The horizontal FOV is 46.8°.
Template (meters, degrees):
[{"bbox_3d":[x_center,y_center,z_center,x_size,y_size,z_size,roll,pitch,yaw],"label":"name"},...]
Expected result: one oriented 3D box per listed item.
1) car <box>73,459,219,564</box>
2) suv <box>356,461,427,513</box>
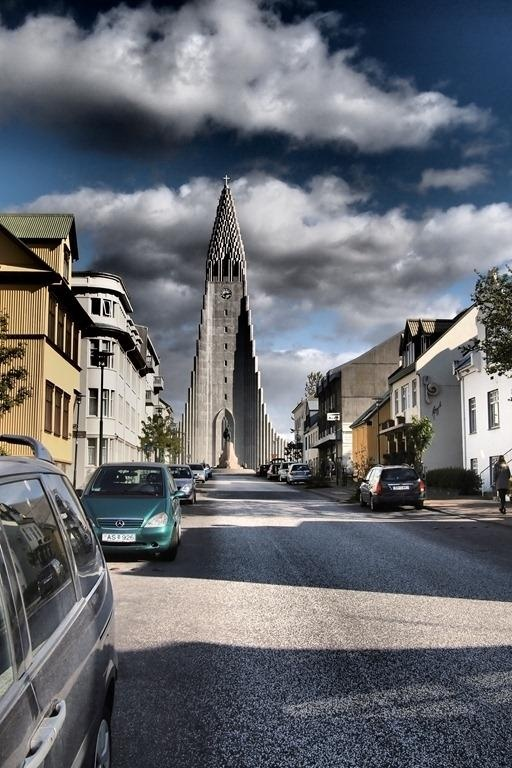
[{"bbox_3d":[-2.160,2.362,11.597,1.539,1.519,2.847,-1,-16,1],"label":"car"},{"bbox_3d":[5.560,4.239,25.116,1.291,1.480,3.005,0,-3,1],"label":"suv"}]
